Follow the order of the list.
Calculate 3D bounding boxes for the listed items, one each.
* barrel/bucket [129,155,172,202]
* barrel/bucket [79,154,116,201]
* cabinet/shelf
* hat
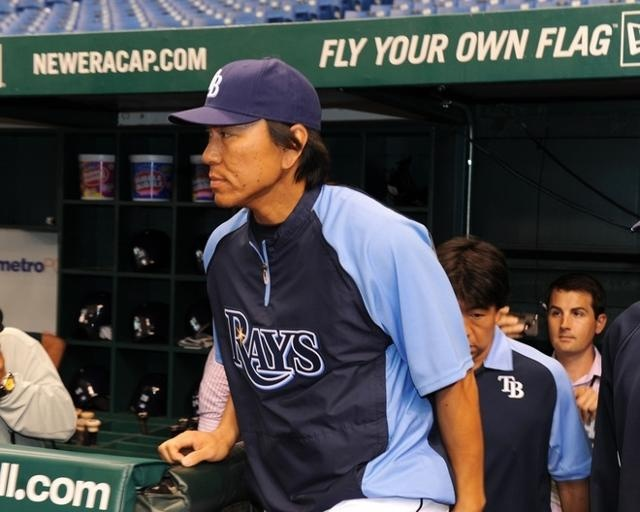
[{"bbox_3d":[-1.299,-0.571,7.061,0.319,0.325,0.324,0,-1,0],"label":"barrel/bucket"},{"bbox_3d":[-1.740,-0.607,7.147,0.315,0.376,0.311,2,4,0],"label":"barrel/bucket"},{"bbox_3d":[-0.584,0.228,4.627,1.619,1.810,1.306,-3,-13,-11],"label":"cabinet/shelf"},{"bbox_3d":[-0.246,-0.544,3.269,0.362,0.211,0.262,-2,6,-23],"label":"hat"}]
